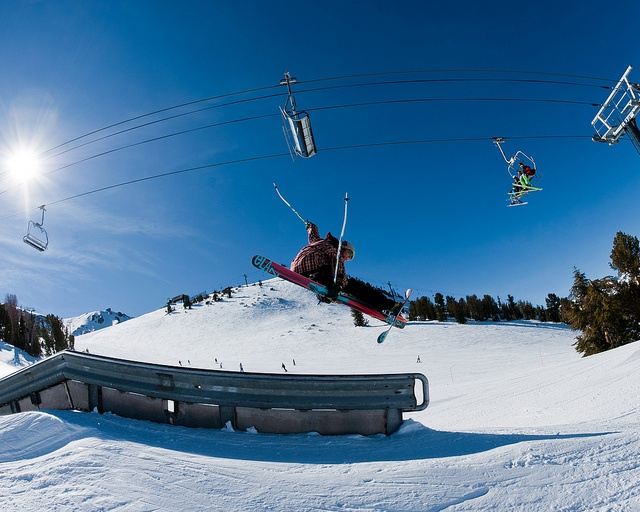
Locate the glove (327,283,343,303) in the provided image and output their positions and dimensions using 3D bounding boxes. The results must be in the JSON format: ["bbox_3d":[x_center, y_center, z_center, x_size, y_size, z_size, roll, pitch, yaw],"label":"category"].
[{"bbox_3d":[0.302,0.845,11.915,0.322,0.412,0.434,10,10,22],"label":"glove"}]

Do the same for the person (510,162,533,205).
[{"bbox_3d":[5.639,-1.924,14.509,0.648,1.381,1.798,-2,-9,20],"label":"person"}]
